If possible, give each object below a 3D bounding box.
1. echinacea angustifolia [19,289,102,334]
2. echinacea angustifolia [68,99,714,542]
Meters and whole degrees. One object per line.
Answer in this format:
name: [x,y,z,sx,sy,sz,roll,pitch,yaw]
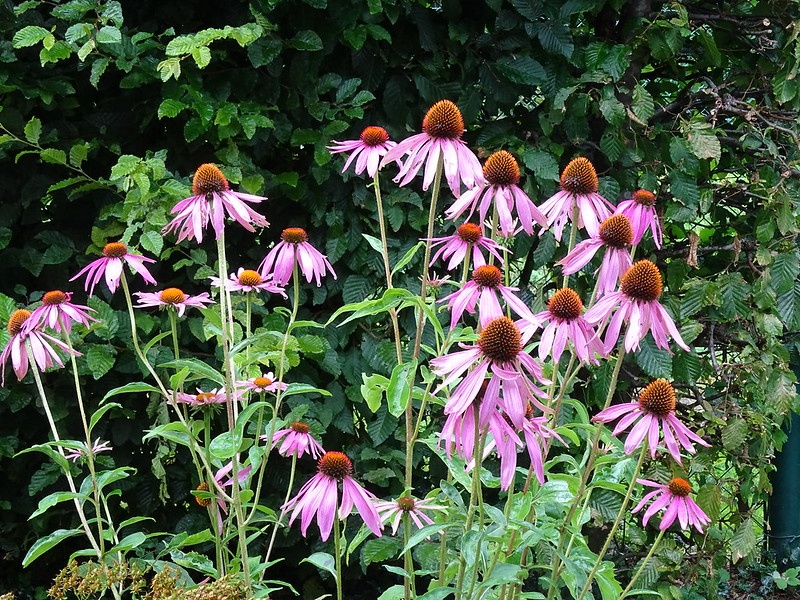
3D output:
echinacea angustifolia: [-1.266,0.021,3.794,0.221,0.121,0.258,-4,15,-3]
echinacea angustifolia: [0.085,0.122,3.862,1.303,1.366,1.487,3,17,-7]
